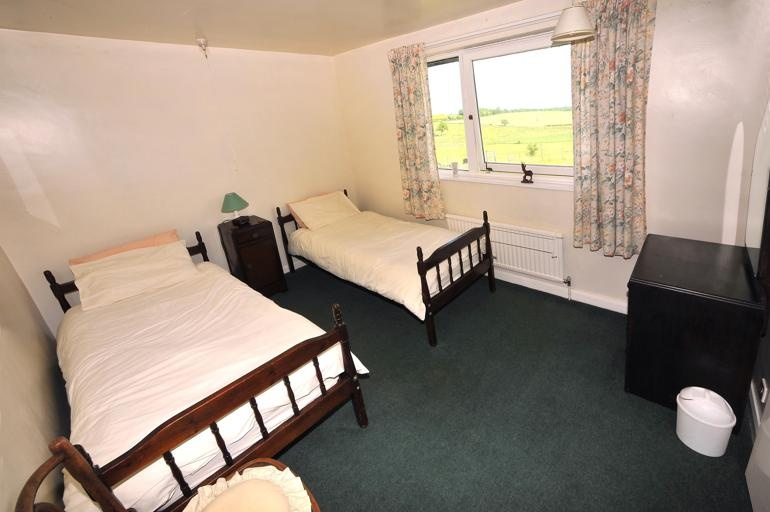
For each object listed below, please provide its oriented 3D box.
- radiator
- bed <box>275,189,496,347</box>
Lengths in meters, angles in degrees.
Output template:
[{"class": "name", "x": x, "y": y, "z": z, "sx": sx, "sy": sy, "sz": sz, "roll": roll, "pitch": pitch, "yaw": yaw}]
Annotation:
[{"class": "radiator", "x": 1.357, "y": 0.036, "z": 5.385, "sx": 0.905, "sy": 0.526, "sz": 0.125, "roll": 17, "pitch": 39, "yaw": 39}, {"class": "bed", "x": -0.080, "y": -0.047, "z": 6.082, "sx": 2.513, "sy": 1.086, "sz": 1.409, "roll": 16, "pitch": 33, "yaw": 42}]
